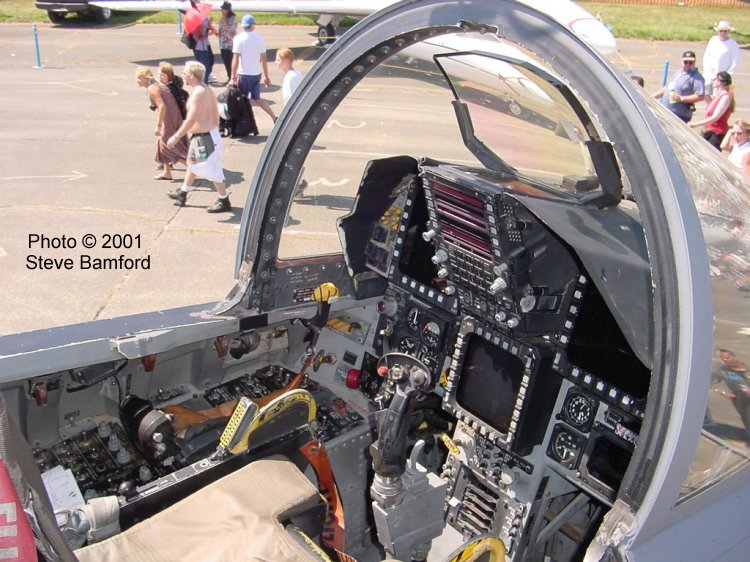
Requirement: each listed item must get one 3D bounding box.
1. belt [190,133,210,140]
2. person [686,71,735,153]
[{"bbox_3d":[-1.916,-1.591,6.897,0.202,0.087,0.085,-4,26,-12],"label":"belt"},{"bbox_3d":[4.307,-2.149,7.918,0.402,0.935,0.631,13,29,21],"label":"person"}]
